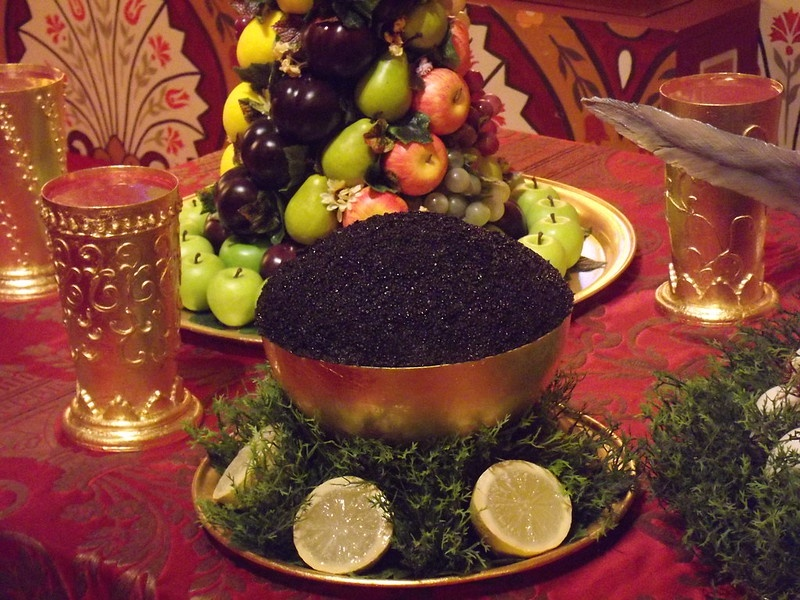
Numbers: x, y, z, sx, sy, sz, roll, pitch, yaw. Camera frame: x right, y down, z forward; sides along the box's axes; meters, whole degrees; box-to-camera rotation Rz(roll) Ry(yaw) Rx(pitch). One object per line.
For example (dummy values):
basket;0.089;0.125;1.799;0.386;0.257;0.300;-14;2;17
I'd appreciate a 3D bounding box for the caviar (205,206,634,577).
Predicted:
caviar;0.005;0.034;0.615;0.335;0.165;0.320;-2;27;-1
